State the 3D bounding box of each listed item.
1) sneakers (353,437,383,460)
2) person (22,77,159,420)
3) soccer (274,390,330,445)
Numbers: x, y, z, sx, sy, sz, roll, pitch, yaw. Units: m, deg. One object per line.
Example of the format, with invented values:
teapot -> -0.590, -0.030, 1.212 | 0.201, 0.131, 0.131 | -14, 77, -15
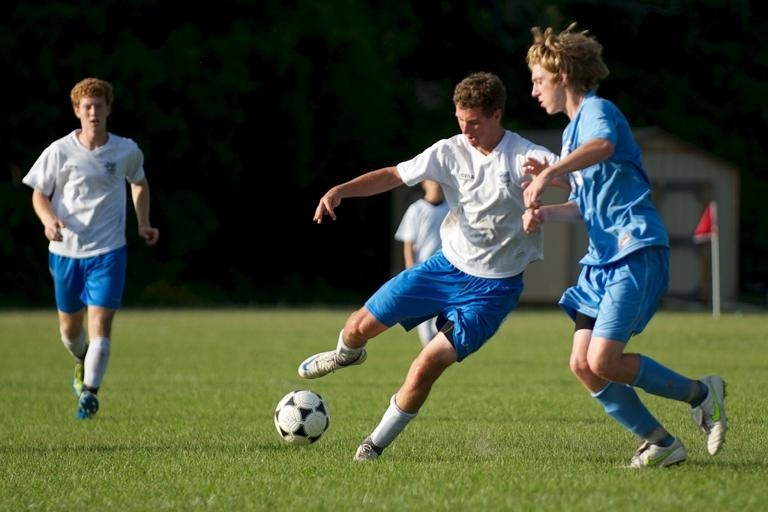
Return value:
sneakers -> -0.205, 2.325, 14.120 | 0.192, 0.238, 0.357 | -2, -10, 31
person -> -3.904, -0.136, 15.736 | 1.499, 4.410, 1.085 | -2, 7, -14
soccer -> -1.020, 2.039, 14.817 | 0.676, 0.693, 0.665 | -3, 6, 0
